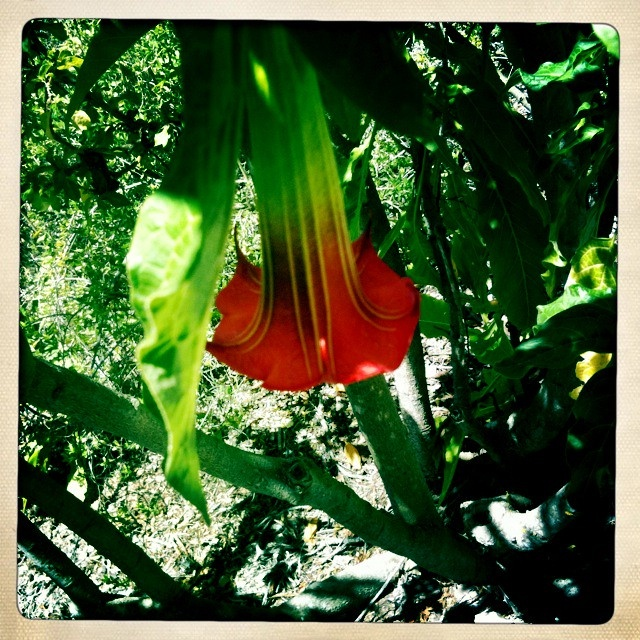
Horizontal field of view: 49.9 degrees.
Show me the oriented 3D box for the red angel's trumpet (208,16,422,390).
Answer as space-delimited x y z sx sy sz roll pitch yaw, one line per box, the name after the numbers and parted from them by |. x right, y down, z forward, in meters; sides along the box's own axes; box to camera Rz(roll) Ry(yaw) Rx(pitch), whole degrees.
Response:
0.000 -0.058 0.431 0.131 0.202 0.118 3 -6 -27 | red angel's trumpet
